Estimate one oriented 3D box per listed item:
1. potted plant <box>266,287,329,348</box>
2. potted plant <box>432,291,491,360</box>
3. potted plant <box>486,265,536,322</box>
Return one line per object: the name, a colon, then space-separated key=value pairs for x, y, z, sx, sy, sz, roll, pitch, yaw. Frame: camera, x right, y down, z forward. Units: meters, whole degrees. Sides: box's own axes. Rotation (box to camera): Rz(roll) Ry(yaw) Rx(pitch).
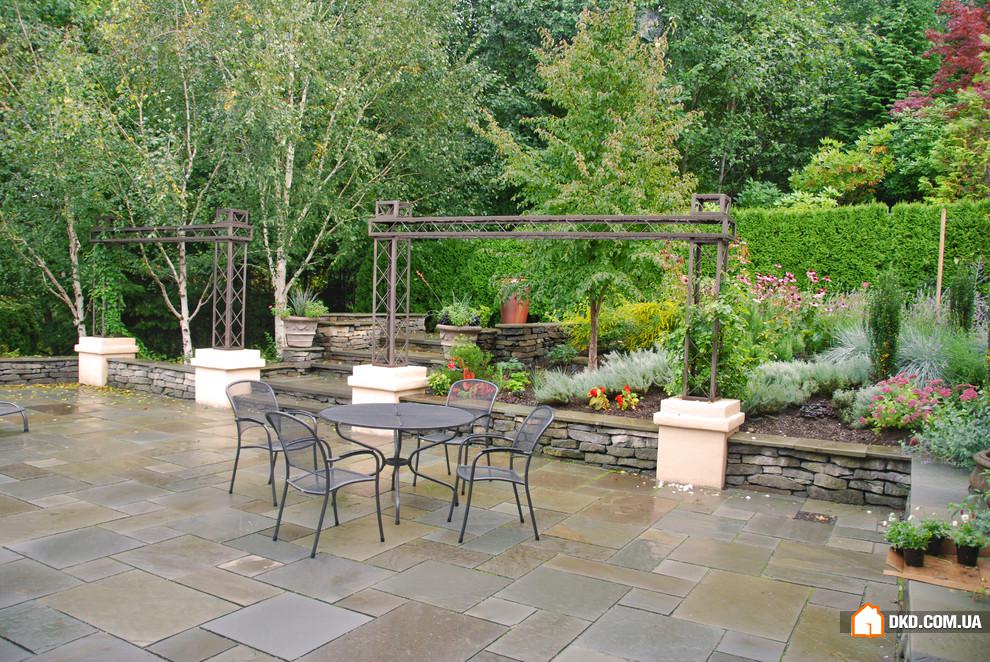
potted plant: x=-3.842 y=-0.234 z=14.570 sx=0.939 sy=1.096 sz=0.529 roll=-1 pitch=4 yaw=-11
potted plant: x=-0.791 y=-0.105 z=13.443 sx=1.159 sy=1.158 sz=1.231 roll=0 pitch=0 yaw=24
potted plant: x=0.446 y=-0.663 z=14.007 sx=1.060 sy=0.966 sz=0.956 roll=-1 pitch=5 yaw=-11
